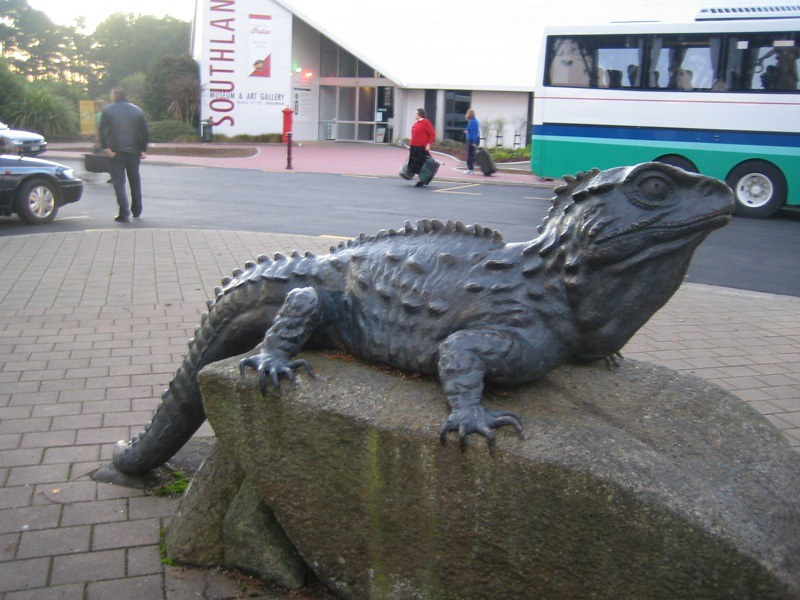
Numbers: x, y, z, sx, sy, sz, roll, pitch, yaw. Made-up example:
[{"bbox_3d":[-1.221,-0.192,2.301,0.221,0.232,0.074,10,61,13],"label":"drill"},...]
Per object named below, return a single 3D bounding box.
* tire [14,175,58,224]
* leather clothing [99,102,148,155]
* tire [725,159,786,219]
[{"bbox_3d":[-6.437,-1.788,11.223,0.315,0.920,0.878,1,5,40],"label":"tire"},{"bbox_3d":[-4.701,-2.928,10.837,0.782,0.871,0.426,-6,20,-22],"label":"leather clothing"},{"bbox_3d":[8.086,-2.498,14.338,0.441,1.292,1.325,-8,-4,-31],"label":"tire"}]
